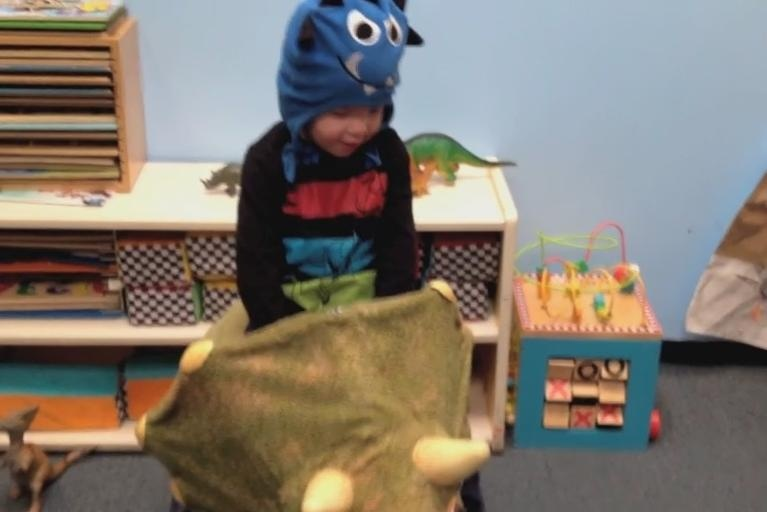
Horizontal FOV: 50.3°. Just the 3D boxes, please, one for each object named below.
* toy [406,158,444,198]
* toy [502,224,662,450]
[{"bbox_3d":[0.128,-0.256,2.720,0.089,0.128,0.043,5,3,-11],"label":"toy"},{"bbox_3d":[0.713,0.266,2.869,0.539,0.797,0.393,1,9,12],"label":"toy"}]
